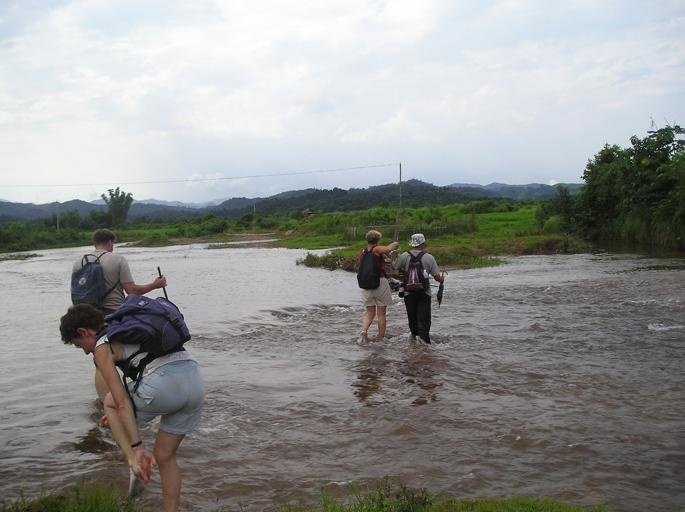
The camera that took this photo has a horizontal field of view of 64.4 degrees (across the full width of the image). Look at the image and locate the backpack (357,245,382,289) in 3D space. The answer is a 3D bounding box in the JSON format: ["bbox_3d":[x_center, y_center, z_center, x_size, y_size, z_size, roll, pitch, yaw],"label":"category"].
[{"bbox_3d":[0.620,0.316,11.784,0.574,0.779,0.456,0,-2,22],"label":"backpack"}]

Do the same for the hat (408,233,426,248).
[{"bbox_3d":[1.585,-0.338,11.491,0.432,0.280,0.558,1,10,15],"label":"hat"}]

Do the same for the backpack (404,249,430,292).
[{"bbox_3d":[1.501,0.347,11.451,0.538,0.788,0.484,-4,8,-16],"label":"backpack"}]

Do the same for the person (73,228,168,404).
[{"bbox_3d":[-3.545,0.843,8.683,1.434,2.522,1.023,-7,12,-37],"label":"person"}]

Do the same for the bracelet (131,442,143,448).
[{"bbox_3d":[-2.099,1.917,5.550,0.058,0.057,0.124,0,3,22],"label":"bracelet"}]
